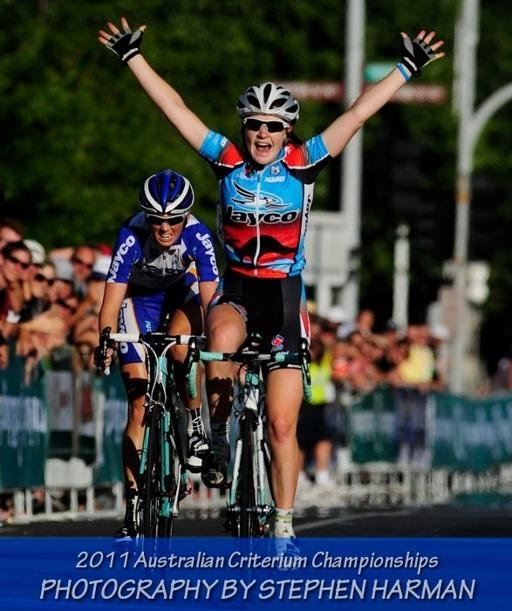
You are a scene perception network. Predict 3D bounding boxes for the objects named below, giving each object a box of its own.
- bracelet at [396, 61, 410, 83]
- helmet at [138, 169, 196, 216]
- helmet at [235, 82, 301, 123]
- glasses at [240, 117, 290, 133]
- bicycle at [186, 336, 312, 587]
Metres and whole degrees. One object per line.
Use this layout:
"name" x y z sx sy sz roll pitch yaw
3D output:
"bracelet" 0.733 -1.166 7.734 0.069 0.031 0.088 34 21 -54
"helmet" -0.447 -0.571 8.048 0.200 0.149 0.273 1 36 3
"helmet" 0.064 -0.991 7.698 0.292 0.216 0.279 -3 19 -1
"glasses" 0.050 -0.896 7.647 0.233 0.078 0.187 0 19 7
"bicycle" -0.004 0.811 7.602 0.560 1.350 0.824 -4 19 -3
